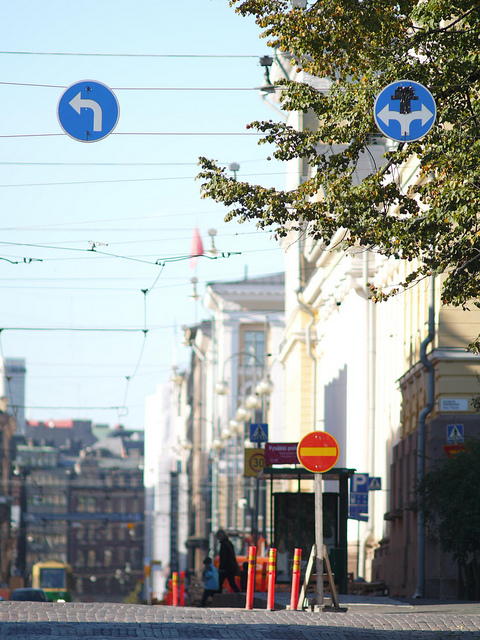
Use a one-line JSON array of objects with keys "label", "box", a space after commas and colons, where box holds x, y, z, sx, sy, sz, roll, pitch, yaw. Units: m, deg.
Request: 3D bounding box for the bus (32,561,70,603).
[{"label": "bus", "box": [-14.556, 20.562, 174.826, 2.076, 3.593, 7.868, -1, -13, 4]}]
